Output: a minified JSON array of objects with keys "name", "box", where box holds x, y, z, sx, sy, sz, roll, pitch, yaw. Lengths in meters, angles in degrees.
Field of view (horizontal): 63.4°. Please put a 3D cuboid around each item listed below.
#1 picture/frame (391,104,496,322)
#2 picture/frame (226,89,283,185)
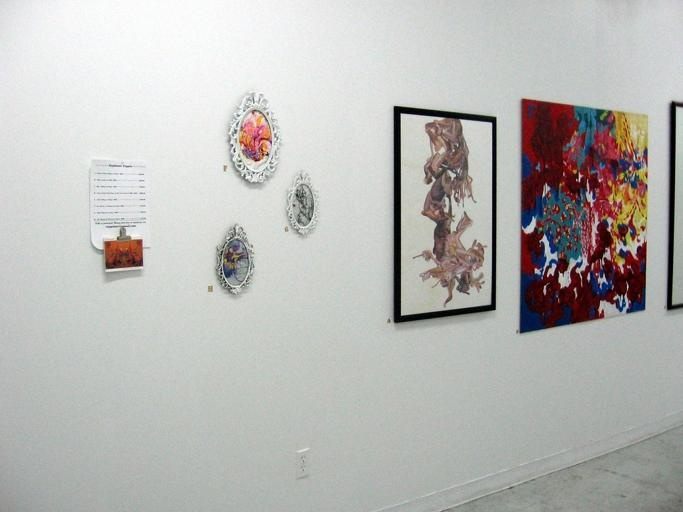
[{"name":"picture/frame","box":[0.562,-0.232,2.995,0.652,1.108,0.089,-3,6,-26]},{"name":"picture/frame","box":[-0.417,-0.559,2.577,0.362,0.597,0.023,-2,5,-40]}]
